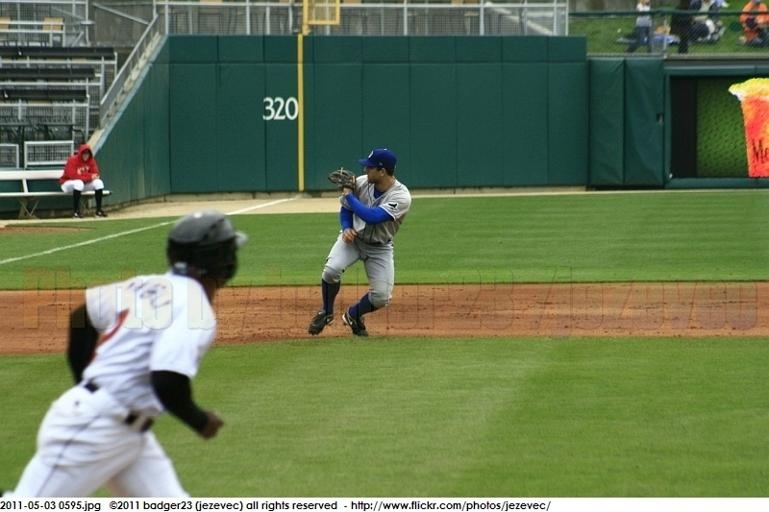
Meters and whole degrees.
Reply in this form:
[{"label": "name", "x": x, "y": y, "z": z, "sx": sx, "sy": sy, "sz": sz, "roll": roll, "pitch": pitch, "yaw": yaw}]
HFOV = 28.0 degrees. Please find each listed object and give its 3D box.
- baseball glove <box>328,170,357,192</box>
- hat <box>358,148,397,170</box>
[{"label": "baseball glove", "x": -0.822, "y": -1.435, "z": 28.903, "sx": 0.522, "sy": 0.168, "sz": 0.405, "roll": 24, "pitch": 3, "yaw": 26}, {"label": "hat", "x": -0.099, "y": -1.783, "z": 28.794, "sx": 0.649, "sy": 0.359, "sz": 0.419, "roll": 14, "pitch": 24, "yaw": 2}]
